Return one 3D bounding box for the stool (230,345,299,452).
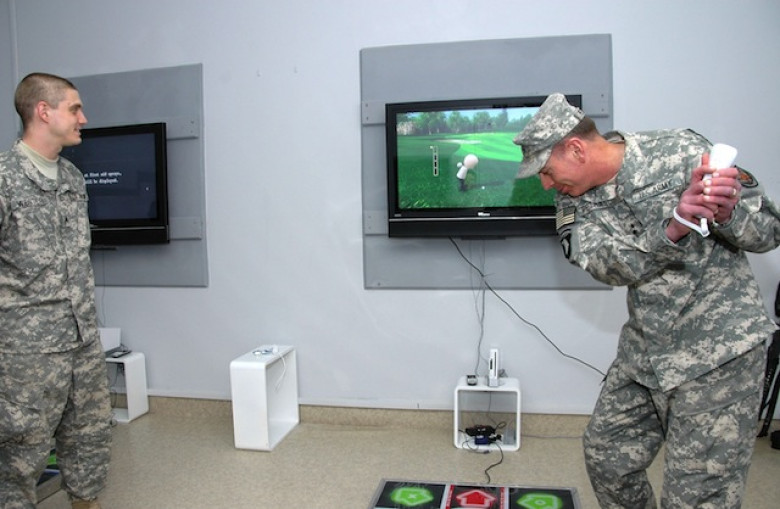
[{"bbox_3d":[-0.976,1.086,4.794,0.387,0.657,0.629,2,15,12],"label":"stool"}]

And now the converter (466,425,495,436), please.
[{"bbox_3d":[0.661,1.316,4.567,0.135,0.051,0.100,-1,0,12],"label":"converter"}]

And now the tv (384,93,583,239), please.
[{"bbox_3d":[0.653,-0.621,4.262,1.160,0.792,0.113,0,5,9],"label":"tv"}]

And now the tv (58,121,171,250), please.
[{"bbox_3d":[-2.107,-0.535,4.729,1.051,1.040,0.111,-3,8,14],"label":"tv"}]

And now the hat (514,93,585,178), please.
[{"bbox_3d":[0.801,-0.631,3.268,0.184,0.470,0.330,28,20,-12],"label":"hat"}]
